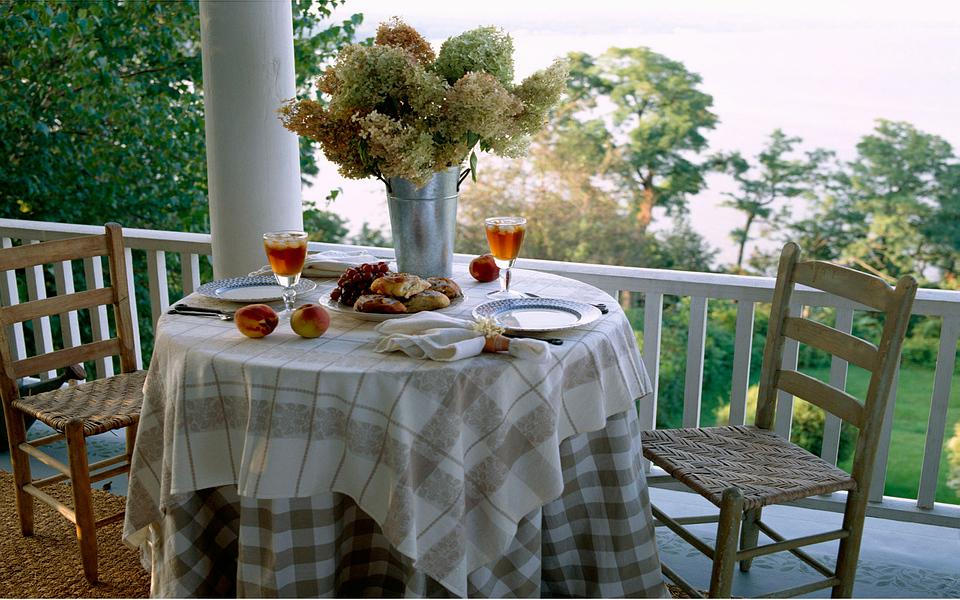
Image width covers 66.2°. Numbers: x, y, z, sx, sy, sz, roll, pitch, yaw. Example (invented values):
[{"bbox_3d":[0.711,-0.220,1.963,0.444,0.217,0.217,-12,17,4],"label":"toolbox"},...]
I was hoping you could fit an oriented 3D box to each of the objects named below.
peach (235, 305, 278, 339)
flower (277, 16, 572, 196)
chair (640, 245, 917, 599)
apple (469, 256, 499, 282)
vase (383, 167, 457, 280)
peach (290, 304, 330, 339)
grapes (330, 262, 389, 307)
[{"bbox_3d":[-0.764,0.075,2.554,0.137,0.102,0.099,-4,12,4],"label":"peach"},{"bbox_3d":[-0.084,-0.806,2.962,0.622,0.514,0.904,-20,24,31],"label":"flower"},{"bbox_3d":[1.081,0.507,2.793,0.782,1.430,0.550,1,10,-8],"label":"chair"},{"bbox_3d":[0.017,-0.120,3.056,0.112,0.101,0.081,29,14,36],"label":"apple"},{"bbox_3d":[-0.223,-0.298,3.017,0.457,0.529,0.362,-1,6,-7],"label":"vase"},{"bbox_3d":[-0.584,0.074,2.567,0.126,0.116,0.115,0,9,6],"label":"peach"},{"bbox_3d":[-0.471,-0.074,2.801,0.230,0.118,0.180,-6,13,-7],"label":"grapes"}]
